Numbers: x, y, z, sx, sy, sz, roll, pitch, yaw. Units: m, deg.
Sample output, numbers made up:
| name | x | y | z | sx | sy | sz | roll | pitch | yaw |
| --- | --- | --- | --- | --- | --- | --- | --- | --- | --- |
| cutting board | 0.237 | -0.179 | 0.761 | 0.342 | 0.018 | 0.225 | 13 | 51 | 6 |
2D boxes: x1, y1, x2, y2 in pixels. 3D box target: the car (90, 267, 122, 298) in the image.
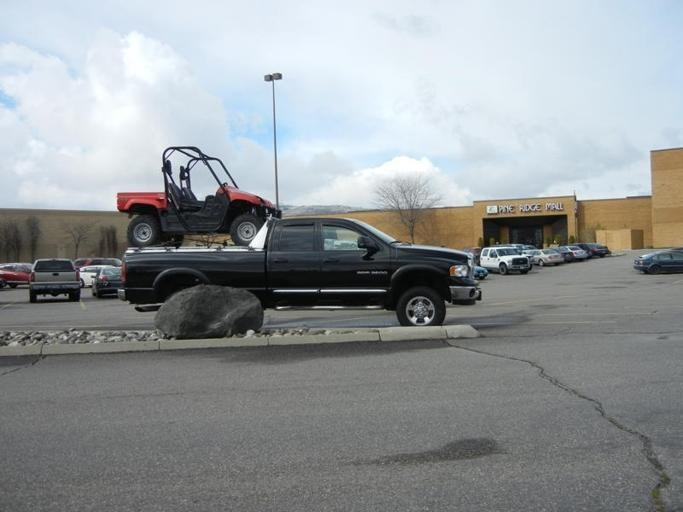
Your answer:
| name | x | y | z | sx | sy | sz | roll | pitch | yaw |
| --- | --- | --- | --- | --- | --- | --- | --- | --- | --- |
| car | -11.606 | 1.325 | 24.051 | 1.449 | 1.200 | 3.189 | 0 | 4 | -18 |

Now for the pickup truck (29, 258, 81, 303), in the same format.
| name | x | y | z | sx | sy | sz | roll | pitch | yaw |
| --- | --- | --- | --- | --- | --- | --- | --- | --- | --- |
| pickup truck | -13.389 | 1.018 | 22.622 | 1.379 | 1.266 | 2.847 | -1 | 2 | -15 |

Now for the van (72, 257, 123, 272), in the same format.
| name | x | y | z | sx | sy | sz | roll | pitch | yaw |
| --- | --- | --- | --- | --- | --- | --- | --- | --- | --- |
| van | -17.590 | 0.588 | 34.915 | 2.490 | 0.907 | 1.200 | -2 | 2 | 0 |

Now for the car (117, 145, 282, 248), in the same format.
| name | x | y | z | sx | sy | sz | roll | pitch | yaw |
| --- | --- | --- | --- | --- | --- | --- | --- | --- | --- |
| car | -3.901 | -1.546 | 12.920 | 3.690 | 2.446 | 1.944 | -2 | 7 | -16 |

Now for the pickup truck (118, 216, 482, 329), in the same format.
| name | x | y | z | sx | sy | sz | roll | pitch | yaw |
| --- | --- | --- | --- | --- | --- | --- | --- | --- | --- |
| pickup truck | -0.867 | 0.389 | 11.406 | 7.101 | 2.358 | 3.140 | -1 | -1 | 5 |
